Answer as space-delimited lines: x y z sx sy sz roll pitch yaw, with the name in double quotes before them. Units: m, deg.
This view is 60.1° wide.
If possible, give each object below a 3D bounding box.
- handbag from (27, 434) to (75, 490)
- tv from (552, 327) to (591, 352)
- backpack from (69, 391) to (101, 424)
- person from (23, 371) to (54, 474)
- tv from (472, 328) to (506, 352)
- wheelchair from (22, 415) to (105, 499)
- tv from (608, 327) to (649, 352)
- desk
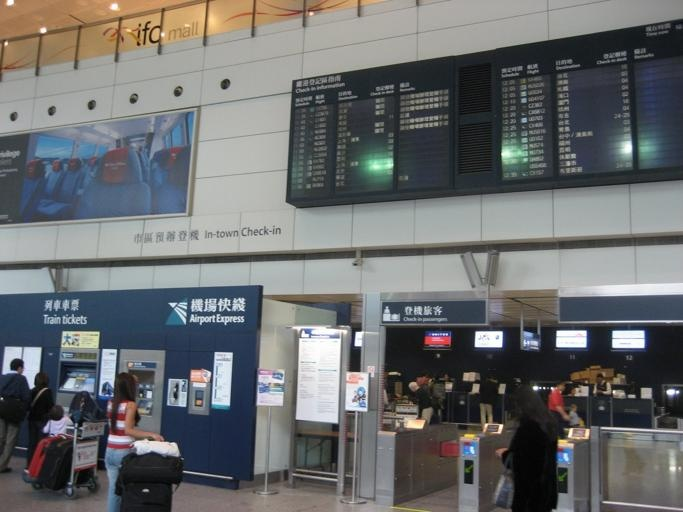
"handbag" -3.850 2.672 7.895 0.365 0.694 0.555 17 3 5
"tv" 5.461 1.937 13.868 0.655 0.626 0.166 -2 -42 28
"backpack" -3.367 1.974 7.714 0.448 0.460 0.322 1 -6 -5
"person" -4.483 2.469 8.836 0.436 1.505 0.383 -3 -6 19
"tv" 3.478 1.973 14.034 0.578 0.429 2.194 -2 -8 11
"wheelchair" -3.733 2.693 7.968 0.965 0.897 0.797 2 -10 8
"tv" 6.793 1.960 13.910 0.906 0.498 0.577 1 -9 24
"desk" -0.351 3.216 9.556 0.817 0.925 1.437 5 -10 0
